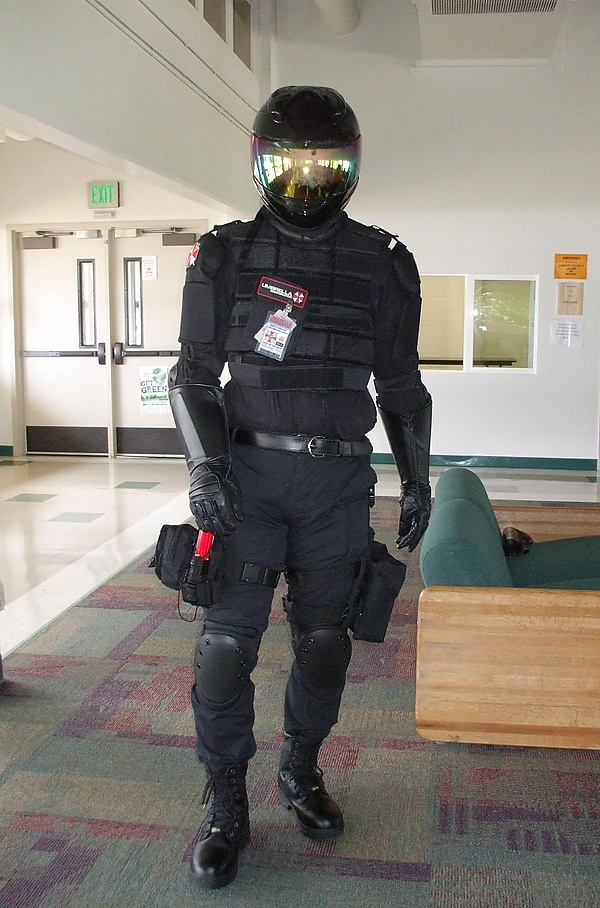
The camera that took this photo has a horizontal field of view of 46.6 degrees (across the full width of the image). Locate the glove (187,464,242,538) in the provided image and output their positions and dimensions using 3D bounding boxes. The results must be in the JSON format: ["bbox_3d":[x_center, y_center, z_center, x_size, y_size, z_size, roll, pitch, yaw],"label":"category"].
[{"bbox_3d":[-0.134,0.068,1.188,0.060,0.117,0.085,-18,21,-40],"label":"glove"}]

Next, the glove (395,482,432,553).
[{"bbox_3d":[0.232,0.134,1.458,0.078,0.136,0.039,5,-14,11],"label":"glove"}]

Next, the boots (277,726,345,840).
[{"bbox_3d":[0.011,0.680,1.418,0.080,0.159,0.227,0,-4,-15],"label":"boots"}]

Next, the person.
[{"bbox_3d":[0.032,0.036,1.324,0.537,1.453,0.306,-3,7,-11],"label":"person"}]

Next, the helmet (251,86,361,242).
[{"bbox_3d":[0.010,-0.579,1.324,0.204,0.230,0.248,0,39,-1],"label":"helmet"}]

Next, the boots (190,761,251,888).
[{"bbox_3d":[-0.148,0.676,1.301,0.078,0.155,0.239,-1,2,10],"label":"boots"}]
